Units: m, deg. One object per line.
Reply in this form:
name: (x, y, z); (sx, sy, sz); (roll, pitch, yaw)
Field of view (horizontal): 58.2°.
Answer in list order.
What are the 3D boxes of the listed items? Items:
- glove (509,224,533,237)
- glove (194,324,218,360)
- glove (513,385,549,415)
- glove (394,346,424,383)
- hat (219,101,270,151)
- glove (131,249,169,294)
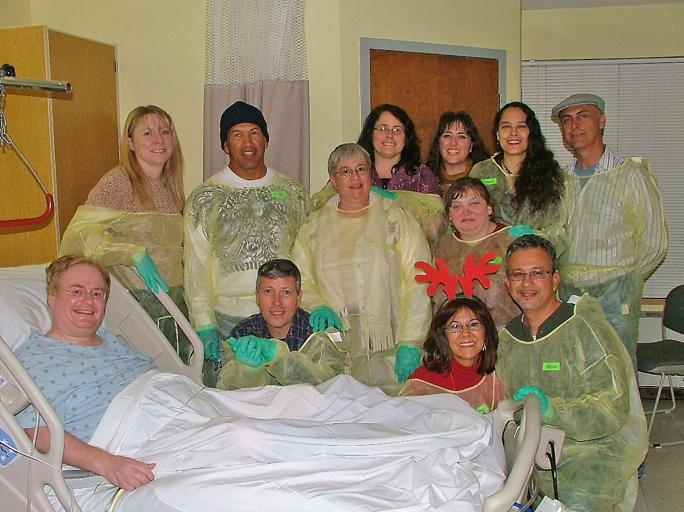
glove: (0.823, -0.118, 2.840); (0.075, 0.021, 0.073); (18, -33, -42)
glove: (-0.636, 0.415, 2.934); (0.117, 0.151, 0.157); (-9, -8, -2)
glove: (0.716, 0.508, 2.306); (0.113, 0.044, 0.132); (7, 33, -8)
glove: (0.291, 0.482, 2.785); (0.120, 0.162, 0.049); (16, 12, 13)
hat: (-0.513, -0.661, 3.067); (0.200, 0.160, 0.191); (7, 1, -37)
glove: (-0.914, 0.089, 2.907); (0.124, 0.233, 0.074); (-35, 4, -34)
